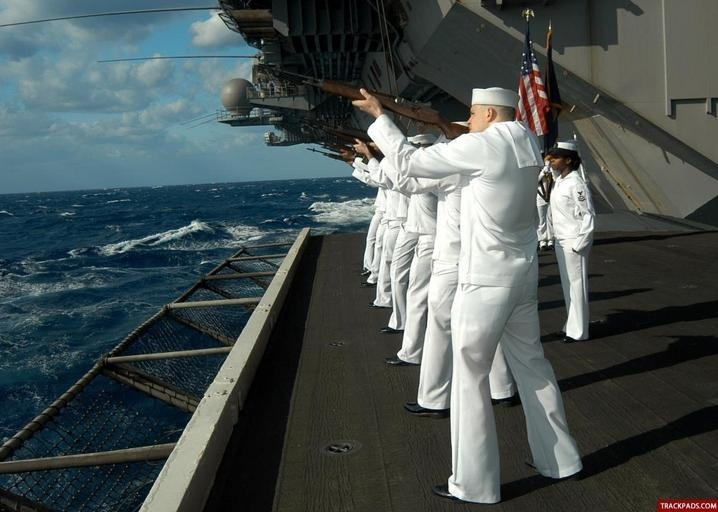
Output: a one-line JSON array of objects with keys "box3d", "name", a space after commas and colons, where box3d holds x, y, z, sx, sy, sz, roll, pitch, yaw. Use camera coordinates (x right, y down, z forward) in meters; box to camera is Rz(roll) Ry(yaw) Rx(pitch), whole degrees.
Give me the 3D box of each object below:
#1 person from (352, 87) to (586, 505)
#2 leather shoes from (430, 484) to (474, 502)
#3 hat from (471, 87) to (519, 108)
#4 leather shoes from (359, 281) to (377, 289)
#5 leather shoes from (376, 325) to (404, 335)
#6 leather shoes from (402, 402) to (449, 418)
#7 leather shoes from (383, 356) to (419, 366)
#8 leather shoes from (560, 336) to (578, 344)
[{"box3d": [0.900, 0.230, 3.702, 1.159, 2.857, 1.096, -8, 14, -17], "name": "person"}, {"box3d": [0.660, 1.664, 3.546, 0.256, 0.087, 0.087, 10, 14, 25], "name": "leather shoes"}, {"box3d": [1.013, -1.164, 3.661, 0.262, 0.081, 0.209, -1, 9, -21], "name": "hat"}, {"box3d": [0.164, 0.538, 8.860, 0.320, 0.104, 0.094, 2, -2, 4], "name": "leather shoes"}, {"box3d": [0.407, 0.960, 6.446, 0.308, 0.102, 0.092, 5, -6, -1], "name": "leather shoes"}, {"box3d": [0.604, 1.361, 4.541, 0.384, 0.129, 0.130, 7, 3, 16], "name": "leather shoes"}, {"box3d": [0.462, 1.143, 5.468, 0.361, 0.112, 0.114, -1, -1, 11], "name": "leather shoes"}, {"box3d": [2.443, 0.992, 5.844, 0.203, 0.068, 0.065, -2, 3, 24], "name": "leather shoes"}]
